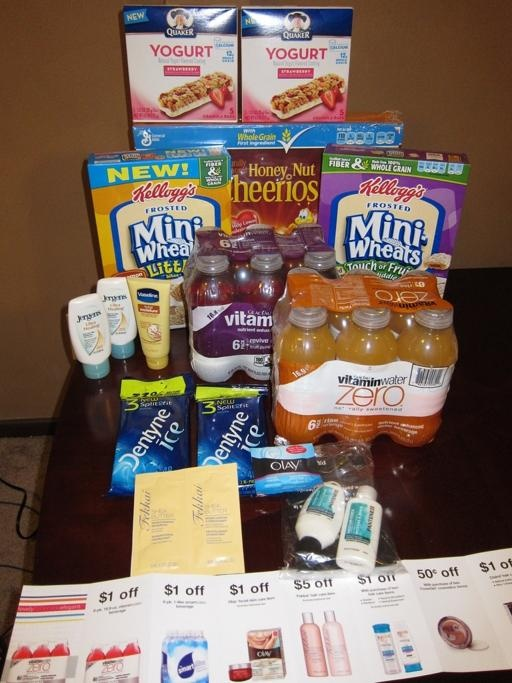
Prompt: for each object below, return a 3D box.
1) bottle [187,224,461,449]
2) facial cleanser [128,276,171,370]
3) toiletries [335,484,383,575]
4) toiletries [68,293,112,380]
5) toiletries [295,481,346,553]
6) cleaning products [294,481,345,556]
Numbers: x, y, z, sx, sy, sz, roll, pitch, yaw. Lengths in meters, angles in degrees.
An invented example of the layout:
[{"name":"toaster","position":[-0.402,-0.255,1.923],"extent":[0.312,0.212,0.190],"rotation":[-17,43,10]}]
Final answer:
[{"name":"bottle","position":[0.171,0.016,0.842],"extent":[0.292,0.242,0.201],"rotation":[0,38,0]},{"name":"facial cleanser","position":[-0.187,-0.035,0.987],"extent":[0.083,0.165,0.052],"rotation":[3,23,16]},{"name":"toiletries","position":[0.132,0.237,0.691],"extent":[0.047,0.046,0.111],"rotation":[9,38,11]},{"name":"toiletries","position":[-0.293,-0.009,0.986],"extent":[0.058,0.170,0.056],"rotation":[-17,43,-22]},{"name":"toiletries","position":[0.083,0.219,0.679],"extent":[0.043,0.084,0.089],"rotation":[7,2,29]},{"name":"cleaning products","position":[0.086,0.221,0.686],"extent":[0.044,0.034,0.084],"rotation":[-28,21,35]}]
